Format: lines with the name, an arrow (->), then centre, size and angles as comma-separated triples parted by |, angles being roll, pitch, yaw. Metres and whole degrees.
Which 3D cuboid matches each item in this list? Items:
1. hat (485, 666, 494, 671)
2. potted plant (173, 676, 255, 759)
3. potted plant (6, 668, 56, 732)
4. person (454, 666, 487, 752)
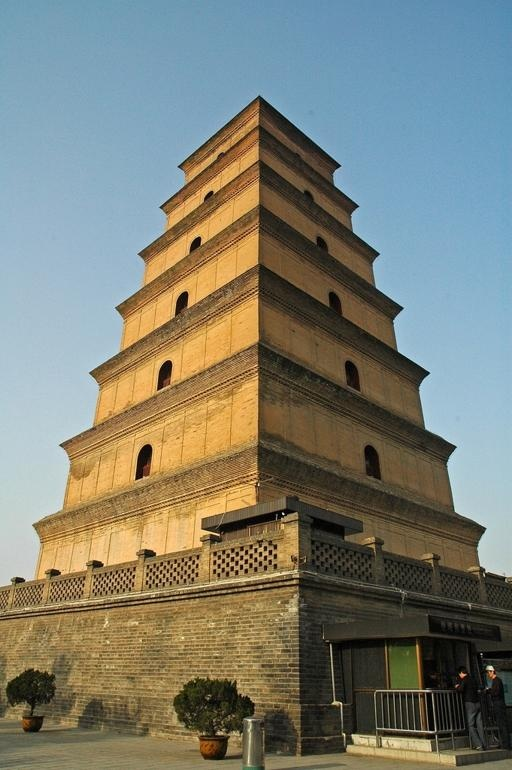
hat -> 3.415, 4.166, 7.708 | 0.128, 0.046, 0.129 | 1, -17, 9
potted plant -> -0.523, 4.135, 6.556 | 0.831, 0.833, 0.615 | -23, -37, 34
potted plant -> -4.371, 6.046, 10.121 | 0.810, 0.998, 1.880 | 11, -32, -19
person -> 2.833, 4.296, 7.000 | 0.260, 0.916, 0.470 | -11, -31, 18
